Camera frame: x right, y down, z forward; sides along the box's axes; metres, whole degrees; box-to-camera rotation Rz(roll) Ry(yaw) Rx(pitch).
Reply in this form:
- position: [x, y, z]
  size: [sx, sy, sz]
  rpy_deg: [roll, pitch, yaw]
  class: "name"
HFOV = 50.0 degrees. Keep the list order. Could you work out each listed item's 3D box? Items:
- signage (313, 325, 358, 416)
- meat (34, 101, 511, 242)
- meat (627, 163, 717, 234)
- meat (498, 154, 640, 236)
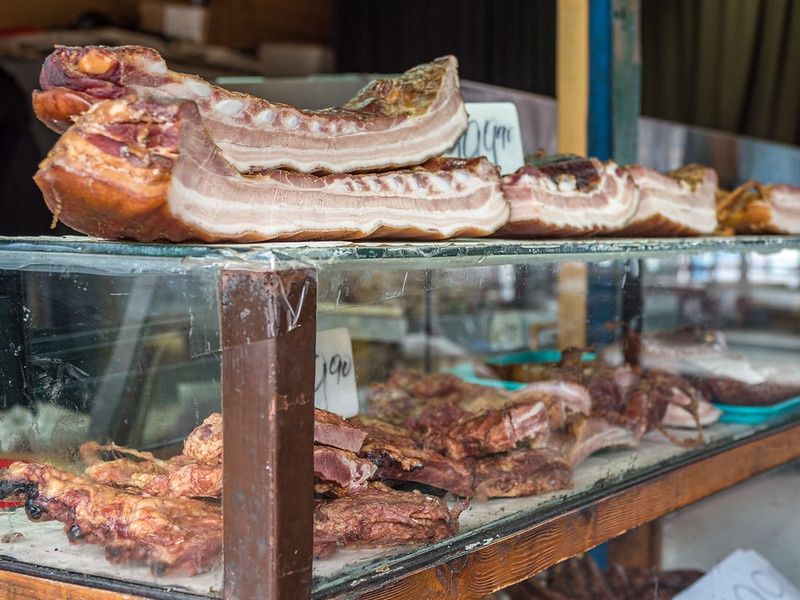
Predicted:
- position: [-0.149, 0.162, 1.920]
  size: [0.018, 0.185, 0.180]
  rpy_deg: [0, -3, -37]
  class: "signage"
- position: [-0.190, -0.213, 1.455]
  size: [0.787, 0.225, 0.119]
  rpy_deg: [-3, 6, -26]
  class: "meat"
- position: [0.603, -0.214, 1.905]
  size: [0.180, 0.189, 0.056]
  rpy_deg: [-11, 9, -31]
  class: "meat"
- position: [0.348, -0.214, 1.746]
  size: [0.317, 0.146, 0.072]
  rpy_deg: [-4, 6, -33]
  class: "meat"
